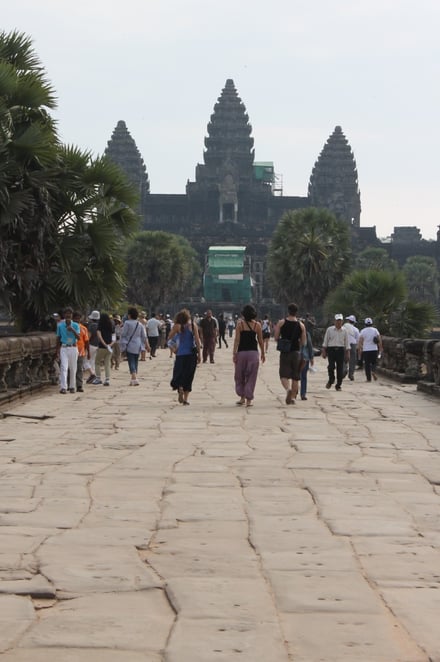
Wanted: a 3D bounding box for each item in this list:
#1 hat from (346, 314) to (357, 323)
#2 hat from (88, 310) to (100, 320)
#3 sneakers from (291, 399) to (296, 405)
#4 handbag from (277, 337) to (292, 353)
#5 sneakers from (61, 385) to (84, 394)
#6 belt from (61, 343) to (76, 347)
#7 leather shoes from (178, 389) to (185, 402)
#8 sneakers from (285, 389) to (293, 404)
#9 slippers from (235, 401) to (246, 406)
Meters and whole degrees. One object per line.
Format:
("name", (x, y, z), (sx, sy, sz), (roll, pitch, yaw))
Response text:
("hat", (3.016, -0.295, 21.474), (0.264, 0.136, 0.255), (22, 0, 10))
("hat", (-2.310, -0.247, 17.353), (0.210, 0.137, 0.240), (3, 19, -11))
("sneakers", (0.915, 0.879, 11.737), (0.040, 0.060, 0.129), (-2, -6, 3))
("handbag", (0.805, 0.160, 11.640), (0.151, 0.168, 0.070), (4, 5, 19))
("sneakers", (-2.110, 0.858, 13.413), (0.367, 0.127, 0.161), (-2, 4, -40))
("belt", (-2.100, 0.197, 13.056), (0.199, 0.048, 0.063), (1, 4, -33))
("leather shoes", (-0.496, 0.816, 11.733), (0.056, 0.180, 0.070), (-1, -2, 2))
("sneakers", (0.857, 0.811, 11.652), (0.074, 0.185, 0.071), (1, -2, -26))
("slippers", (0.256, 0.896, 11.649), (0.119, 0.114, 0.050), (2, 0, 1))
